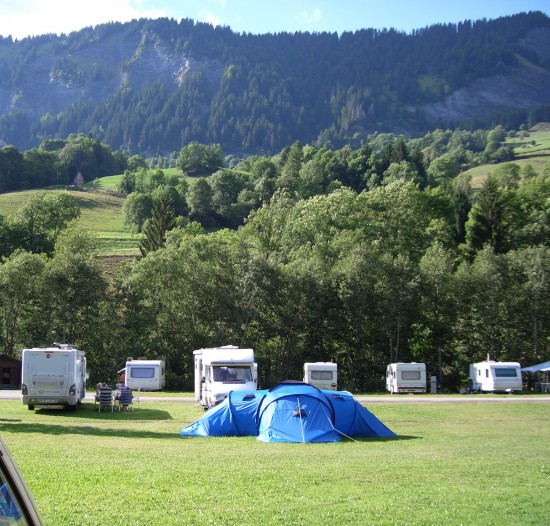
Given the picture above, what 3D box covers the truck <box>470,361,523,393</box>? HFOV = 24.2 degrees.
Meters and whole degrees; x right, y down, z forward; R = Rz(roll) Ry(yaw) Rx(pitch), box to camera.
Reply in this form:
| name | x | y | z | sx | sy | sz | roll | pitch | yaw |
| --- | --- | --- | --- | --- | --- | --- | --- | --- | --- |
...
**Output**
| name | x | y | z | sx | sy | sz | roll | pitch | yaw |
| --- | --- | --- | --- | --- | --- | --- | --- | --- | --- |
| truck | 32.666 | 16.694 | 189.048 | 7.157 | 4.553 | 3.145 | -3 | -6 | 22 |
